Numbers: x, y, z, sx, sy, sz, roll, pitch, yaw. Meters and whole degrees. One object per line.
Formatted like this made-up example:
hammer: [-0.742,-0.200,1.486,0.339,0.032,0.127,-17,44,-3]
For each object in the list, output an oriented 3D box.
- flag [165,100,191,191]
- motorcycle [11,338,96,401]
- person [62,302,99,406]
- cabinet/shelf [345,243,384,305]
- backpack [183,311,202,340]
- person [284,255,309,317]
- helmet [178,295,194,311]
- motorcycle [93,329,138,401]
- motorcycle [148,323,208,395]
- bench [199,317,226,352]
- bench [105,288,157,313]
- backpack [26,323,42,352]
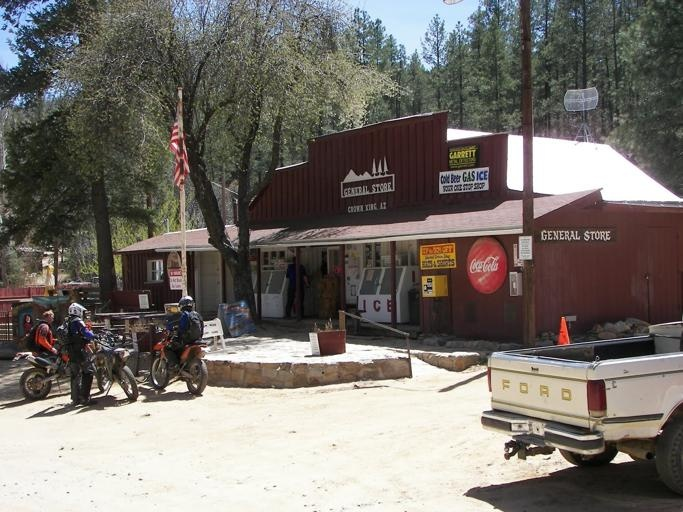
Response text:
flag: [-4.551,-3.236,20.447,0.491,3.000,0.347,-10,37,-24]
motorcycle: [-6.774,2.647,17.825,1.068,1.560,2.111,-25,-15,41]
person: [-5.922,2.245,16.655,0.609,2.228,0.830,-6,7,-31]
cabinet/shelf: [0.652,0.825,26.084,1.189,2.412,1.374,2,-37,-1]
backpack: [-3.338,1.629,16.781,0.343,0.681,0.458,2,8,40]
person: [-1.610,1.053,26.056,0.706,2.435,0.634,1,23,0]
helmet: [-3.582,1.136,16.979,0.276,0.352,0.326,17,-31,-42]
motorcycle: [-5.279,2.541,17.013,0.915,1.557,1.526,-6,7,-28]
motorcycle: [-3.808,2.446,17.193,2.042,1.567,0.718,-2,-7,41]
bench: [-3.468,2.201,20.410,0.747,1.227,0.766,1,-4,-38]
bench: [-7.120,1.574,24.852,1.077,0.960,2.856,-6,6,-23]
backpack: [-7.325,1.954,17.474,0.273,0.631,0.548,-3,6,-9]
